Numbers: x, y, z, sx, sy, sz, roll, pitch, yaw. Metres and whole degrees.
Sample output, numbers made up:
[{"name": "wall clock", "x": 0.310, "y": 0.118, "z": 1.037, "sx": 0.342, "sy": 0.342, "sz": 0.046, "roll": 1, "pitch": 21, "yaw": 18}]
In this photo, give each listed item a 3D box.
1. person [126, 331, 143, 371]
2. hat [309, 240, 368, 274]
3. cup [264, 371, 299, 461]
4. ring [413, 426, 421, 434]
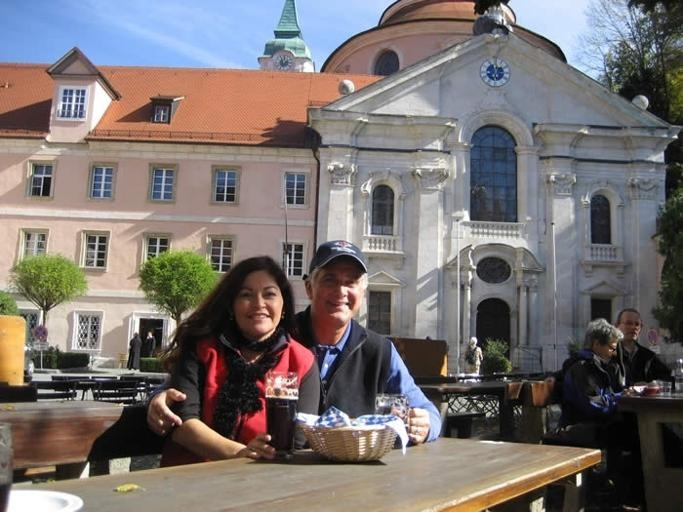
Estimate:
[{"name": "person", "x": -8.080, "y": 3.675, "z": 28.453, "sx": 0.483, "sy": 1.468, "sz": 1.176, "roll": 3, "pitch": -9, "yaw": -17}, {"name": "hat", "x": -0.026, "y": -0.017, "z": 5.555, "sx": 0.366, "sy": 0.258, "sz": 0.578, "roll": 1, "pitch": -7, "yaw": -10}, {"name": "cup", "x": -0.356, "y": 0.944, "z": 4.383, "sx": 0.190, "sy": 0.489, "sz": 0.143, "roll": 1, "pitch": -8, "yaw": -9}, {"name": "ring", "x": 0.500, "y": 1.138, "z": 4.757, "sx": 0.062, "sy": 0.031, "sz": 0.041, "roll": 2, "pitch": -11, "yaw": 15}]
